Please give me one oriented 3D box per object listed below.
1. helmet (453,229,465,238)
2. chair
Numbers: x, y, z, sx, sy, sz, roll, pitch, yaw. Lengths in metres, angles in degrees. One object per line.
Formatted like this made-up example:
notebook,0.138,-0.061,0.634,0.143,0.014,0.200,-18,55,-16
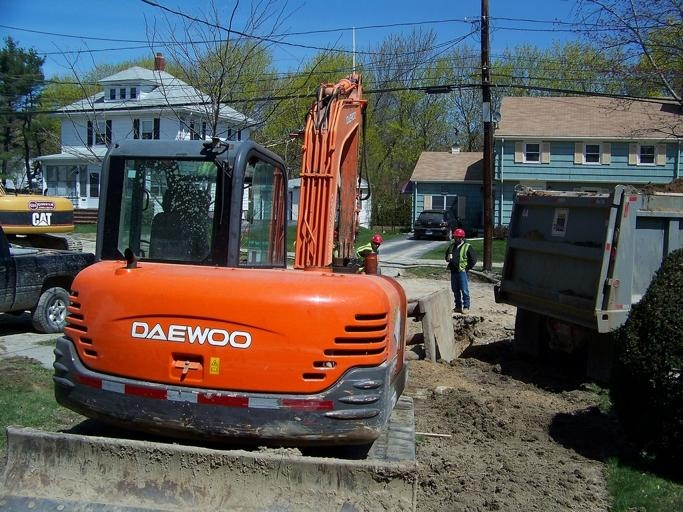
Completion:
helmet,2.725,-0.528,15.188,0.307,0.235,0.444,4,9,19
chair,-1.573,-0.252,6.319,0.720,0.840,0.431,1,-1,16
